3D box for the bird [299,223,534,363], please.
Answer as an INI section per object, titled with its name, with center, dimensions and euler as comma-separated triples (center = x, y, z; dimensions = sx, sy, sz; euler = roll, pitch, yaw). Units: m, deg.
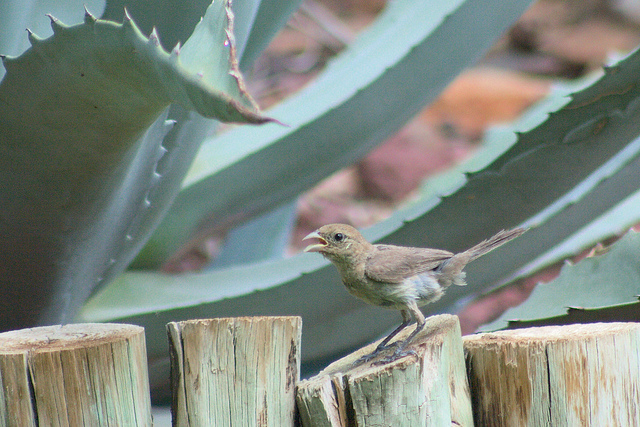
[bird]
center = 0.368, 0.267, 5.395
dimensions = 0.852, 0.477, 0.297
euler = -4, -1, -20
